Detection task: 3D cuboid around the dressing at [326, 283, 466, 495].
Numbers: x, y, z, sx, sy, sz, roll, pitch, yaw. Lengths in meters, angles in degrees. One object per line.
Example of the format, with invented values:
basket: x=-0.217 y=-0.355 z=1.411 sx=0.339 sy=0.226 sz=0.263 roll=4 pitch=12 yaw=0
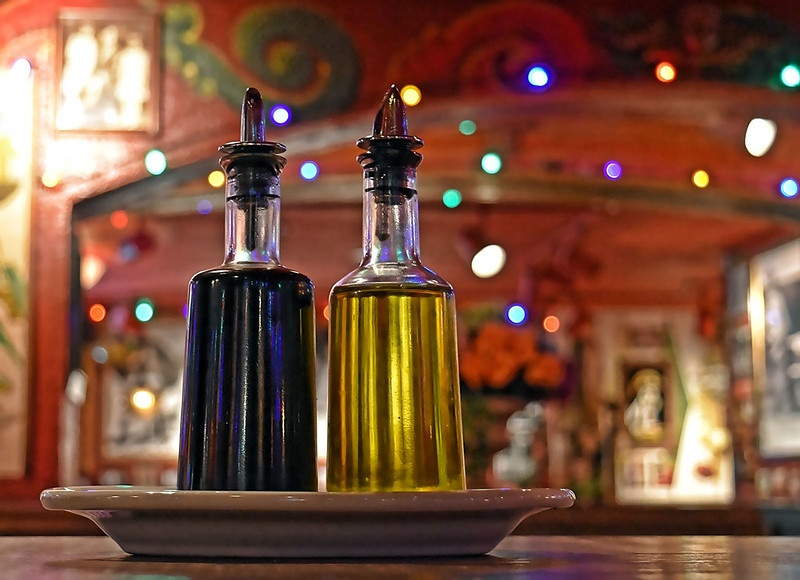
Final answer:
dressing: x=-0.006 y=0.103 z=1.137 sx=0.138 sy=0.210 sz=0.059 roll=-1 pitch=-15 yaw=-4
